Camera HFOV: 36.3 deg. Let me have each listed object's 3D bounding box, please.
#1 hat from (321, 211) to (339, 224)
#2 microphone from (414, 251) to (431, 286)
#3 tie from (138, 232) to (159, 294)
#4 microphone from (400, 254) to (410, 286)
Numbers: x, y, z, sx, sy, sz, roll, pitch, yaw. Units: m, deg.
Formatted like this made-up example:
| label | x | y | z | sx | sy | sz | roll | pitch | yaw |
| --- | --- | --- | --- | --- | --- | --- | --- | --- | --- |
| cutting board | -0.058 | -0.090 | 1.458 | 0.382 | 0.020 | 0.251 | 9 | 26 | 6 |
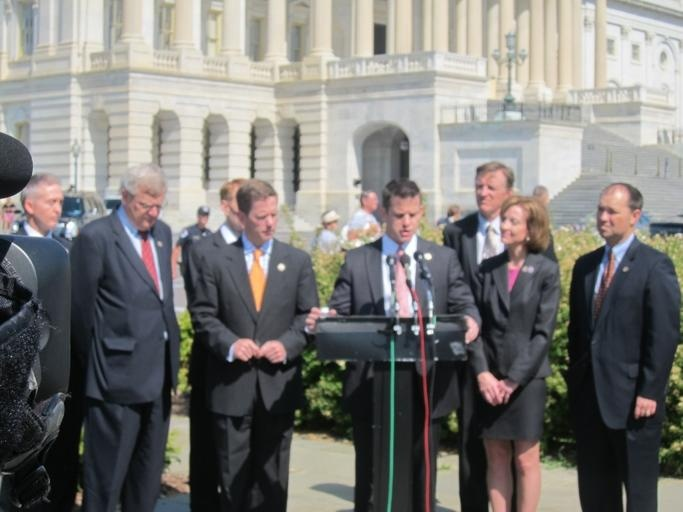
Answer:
| label | x | y | z | sx | sy | sz | roll | pitch | yaw |
| --- | --- | --- | --- | --- | --- | --- | --- | --- | --- |
| hat | -0.206 | -0.665 | 18.404 | 0.294 | 0.173 | 0.419 | -24 | 2 | -4 |
| microphone | 0.687 | 0.088 | 8.627 | 0.095 | 0.106 | 0.351 | -12 | 36 | -7 |
| tie | -1.788 | -0.017 | 9.607 | 0.100 | 0.796 | 0.073 | -5 | -16 | -31 |
| microphone | 0.513 | 0.111 | 8.483 | 0.056 | 0.275 | 0.072 | -4 | -32 | 3 |
